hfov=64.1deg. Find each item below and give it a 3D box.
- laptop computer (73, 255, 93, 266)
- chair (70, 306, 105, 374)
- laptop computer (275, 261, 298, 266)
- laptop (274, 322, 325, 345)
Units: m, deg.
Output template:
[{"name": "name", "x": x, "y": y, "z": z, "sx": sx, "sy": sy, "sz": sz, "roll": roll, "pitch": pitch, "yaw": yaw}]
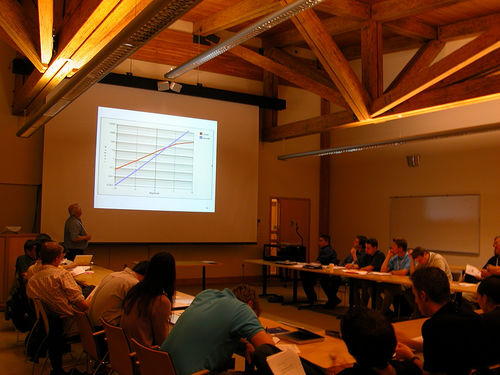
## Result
[{"name": "laptop computer", "x": -2.599, "y": 1.142, "z": 6.271, "sx": 0.137, "sy": 0.160, "sz": 0.283, "roll": -2, "pitch": -7, "yaw": 28}, {"name": "chair", "x": -1.434, "y": 1.331, "z": 3.537, "sx": 0.253, "sy": 0.487, "sz": 0.472, "roll": 3, "pitch": -6, "yaw": -24}, {"name": "laptop computer", "x": 0.749, "y": 1.528, "z": 8.109, "sx": 0.459, "sy": 0.033, "sz": 0.835, "roll": 0, "pitch": -6, "yaw": 7}, {"name": "laptop", "x": 0.451, "y": 1.192, "z": 3.334, "sx": 0.360, "sy": 0.142, "sz": 0.480, "roll": 1, "pitch": -12, "yaw": -25}]
